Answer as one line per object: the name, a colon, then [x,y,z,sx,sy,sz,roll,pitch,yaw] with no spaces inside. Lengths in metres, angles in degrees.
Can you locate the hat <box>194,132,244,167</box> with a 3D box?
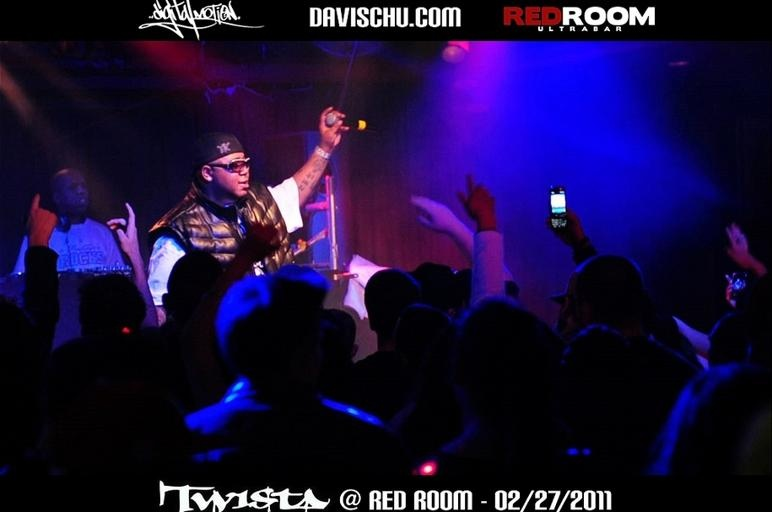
hat: [-1.783,-1.128,6.852,0.423,0.236,0.326,-23,8,-18]

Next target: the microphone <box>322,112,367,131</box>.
microphone: [-0.476,-1.567,7.521,0.178,0.182,0.622,-15,-7,29]
